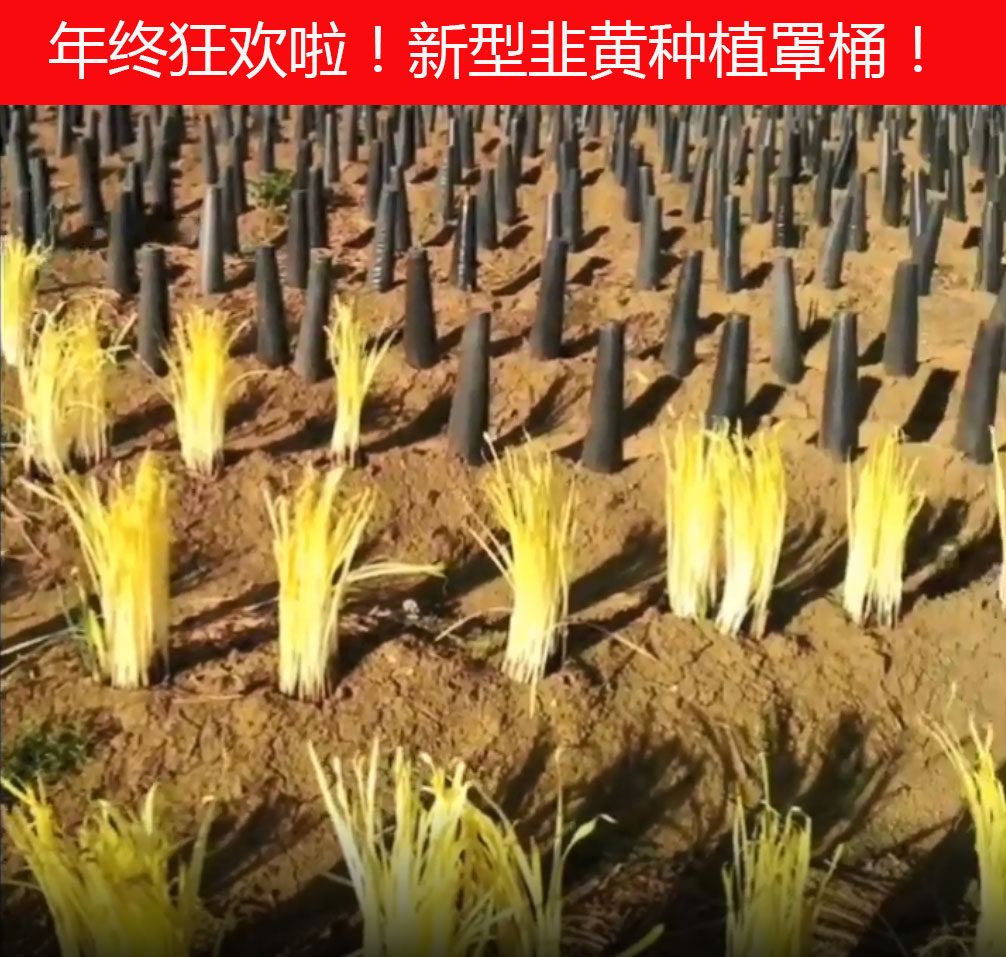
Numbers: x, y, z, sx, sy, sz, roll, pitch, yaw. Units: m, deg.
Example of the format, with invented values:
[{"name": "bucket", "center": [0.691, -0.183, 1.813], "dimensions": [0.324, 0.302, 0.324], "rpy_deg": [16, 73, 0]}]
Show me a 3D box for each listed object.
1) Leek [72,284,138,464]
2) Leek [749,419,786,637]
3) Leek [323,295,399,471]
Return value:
[{"name": "Leek", "center": [-0.922, -0.223, 3.337], "dimensions": [0.129, 0.391, 0.109], "rpy_deg": [8, 48, -7]}, {"name": "Leek", "center": [0.528, 0.118, 2.871], "dimensions": [0.055, 0.428, 0.096], "rpy_deg": [3, -8, -20]}, {"name": "Leek", "center": [-0.331, -0.202, 3.329], "dimensions": [0.158, 0.420, 0.170], "rpy_deg": [35, 39, 29]}]
